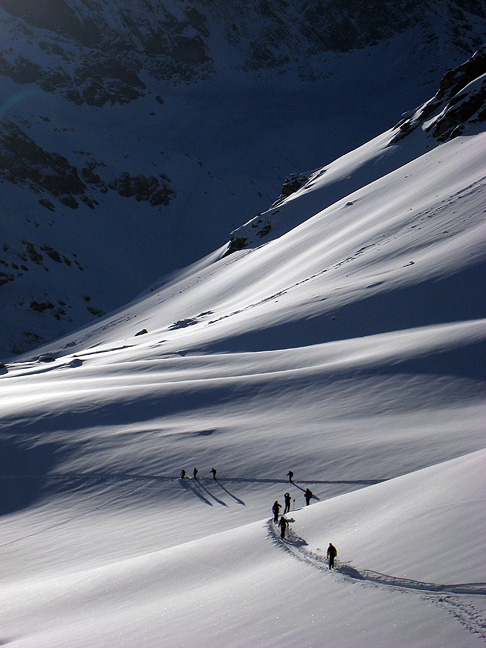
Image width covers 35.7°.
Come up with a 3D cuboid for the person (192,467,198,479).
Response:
[{"bbox_3d":[-2.226,6.900,34.842,0.271,0.510,0.701,-8,-7,-6],"label":"person"}]

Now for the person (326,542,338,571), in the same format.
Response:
[{"bbox_3d":[2.350,6.108,20.006,0.303,0.671,0.856,-10,-7,3],"label":"person"}]
